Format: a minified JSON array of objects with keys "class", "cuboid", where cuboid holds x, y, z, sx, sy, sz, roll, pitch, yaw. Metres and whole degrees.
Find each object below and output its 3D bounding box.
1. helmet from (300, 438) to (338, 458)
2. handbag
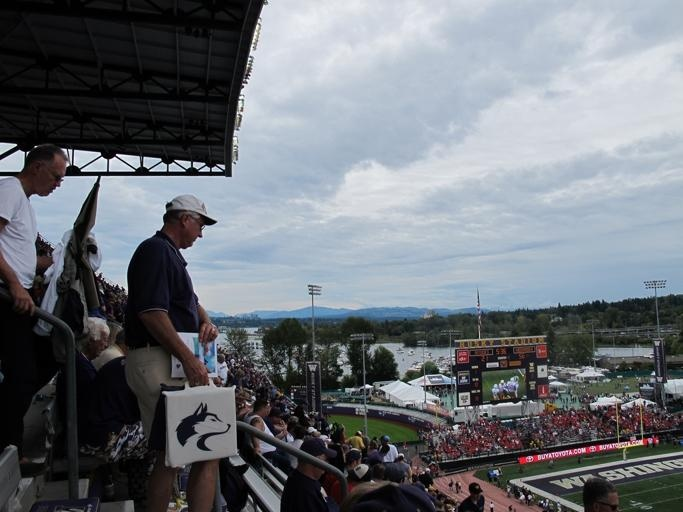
[{"class":"helmet","cuboid":[-0.253,2.162,6.293,0.398,0.195,0.265,4,-3,-10]},{"class":"handbag","cuboid":[-1.174,1.369,4.577,0.684,0.681,0.270,-1,-8,-24]}]
